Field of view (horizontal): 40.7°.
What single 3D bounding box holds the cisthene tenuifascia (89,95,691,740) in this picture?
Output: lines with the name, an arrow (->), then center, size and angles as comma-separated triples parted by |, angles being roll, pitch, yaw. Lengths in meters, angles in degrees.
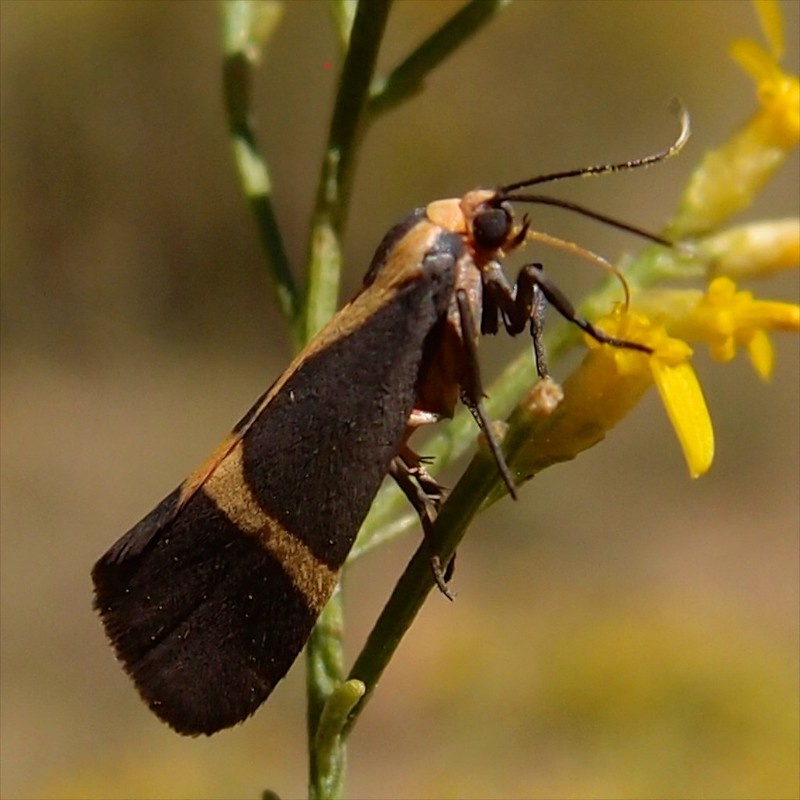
cisthene tenuifascia -> -0.043, -0.086, 2.284 | 1.612, 0.779, 0.545 | -39, -40, -24
